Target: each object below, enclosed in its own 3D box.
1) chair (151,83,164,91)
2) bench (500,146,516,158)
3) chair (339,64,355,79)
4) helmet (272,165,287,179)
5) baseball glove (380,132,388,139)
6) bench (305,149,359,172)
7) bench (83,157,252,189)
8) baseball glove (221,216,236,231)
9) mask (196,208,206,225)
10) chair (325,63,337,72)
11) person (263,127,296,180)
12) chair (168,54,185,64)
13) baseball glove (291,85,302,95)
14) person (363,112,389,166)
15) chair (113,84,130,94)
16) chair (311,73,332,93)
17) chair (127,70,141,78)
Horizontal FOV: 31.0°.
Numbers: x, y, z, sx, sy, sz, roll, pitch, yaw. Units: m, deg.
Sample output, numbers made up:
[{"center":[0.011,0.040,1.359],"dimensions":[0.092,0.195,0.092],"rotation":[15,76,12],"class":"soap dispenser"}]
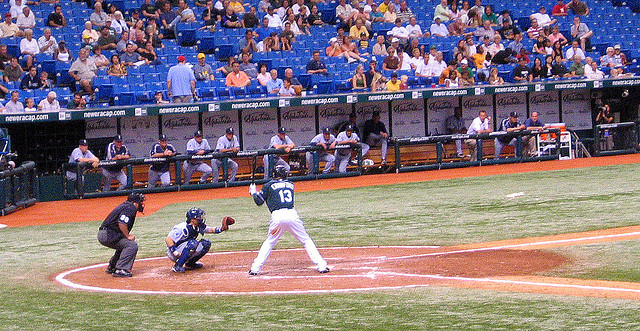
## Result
[{"center":[-6.346,-3.132,45.537],"dimensions":[0.374,0.216,0.373],"rotation":[0,0,40],"class":"chair"},{"center":[7.567,-0.547,46.876],"dimensions":[0.450,0.463,0.599],"rotation":[3,6,44],"class":"bench"},{"center":[1.103,-3.892,47.481],"dimensions":[0.571,0.592,0.503],"rotation":[-4,0,-7],"class":"chair"},{"center":[-1.149,0.184,36.029],"dimensions":[0.415,0.382,0.441],"rotation":[6,-16,-23],"class":"helmet"},{"center":[2.521,-1.218,46.129],"dimensions":[0.273,0.270,0.194],"rotation":[-4,0,6],"class":"baseball glove"},{"center":[0.326,-0.135,46.179],"dimensions":[1.843,0.851,0.364],"rotation":[0,-8,1],"class":"bench"},{"center":[-5.852,0.325,45.250],"dimensions":[8.056,1.080,1.286],"rotation":[-3,2,-37],"class":"bench"},{"center":[-2.871,1.808,35.891],"dimensions":[0.312,0.448,0.227],"rotation":[37,5,1],"class":"baseball glove"},{"center":[-3.730,1.619,36.290],"dimensions":[0.215,0.504,0.424],"rotation":[-5,0,-3],"class":"mask"},{"center":[0.474,-4.053,47.566],"dimensions":[0.444,0.339,0.239],"rotation":[-4,0,-12],"class":"chair"},{"center":[-1.481,-0.489,45.227],"dimensions":[1.320,2.088,1.091],"rotation":[0,1,14],"class":"person"},{"center":[-5.785,-4.339,46.993],"dimensions":[0.628,0.443,0.396],"rotation":[0,7,-1],"class":"chair"},{"center":[-0.862,-3.029,45.898],"dimensions":[0.336,0.329,0.139],"rotation":[-3,6,4],"class":"baseball glove"},{"center":[2.230,-1.090,46.278],"dimensions":[0.934,2.098,0.454],"rotation":[-5,1,4],"class":"person"},{"center":[-7.676,-3.004,44.964],"dimensions":[0.626,0.373,0.294],"rotation":[-3,0,-7],"class":"chair"},{"center":[0.089,-3.362,46.489],"dimensions":[0.666,0.782,0.749],"rotation":[-4,0,-18],"class":"chair"},{"center":[-7.295,-3.644,45.639],"dimensions":[0.390,0.216,0.365],"rotation":[0,3,30],"class":"chair"}]
